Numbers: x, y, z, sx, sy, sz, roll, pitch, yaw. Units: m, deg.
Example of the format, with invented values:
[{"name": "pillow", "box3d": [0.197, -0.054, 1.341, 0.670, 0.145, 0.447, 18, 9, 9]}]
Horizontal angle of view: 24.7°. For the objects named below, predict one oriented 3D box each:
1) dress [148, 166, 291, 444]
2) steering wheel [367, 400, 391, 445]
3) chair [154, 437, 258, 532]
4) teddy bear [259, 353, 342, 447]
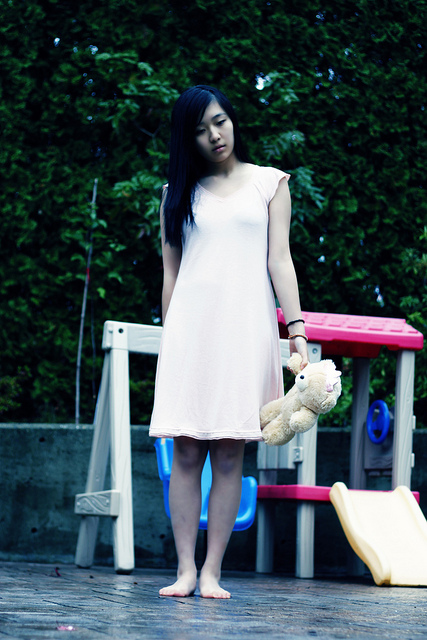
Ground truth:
[{"name": "dress", "box3d": [0.023, -0.059, 2.779, 0.364, 0.776, 0.278, 3, 3, -9]}, {"name": "steering wheel", "box3d": [0.696, 0.426, 4.072, 0.033, 0.191, 0.199, 6, -8, -14]}, {"name": "chair", "box3d": [-0.041, 0.596, 3.635, 0.350, 0.391, 0.351, 2, -16, -9]}, {"name": "teddy bear", "box3d": [0.239, 0.227, 2.711, 0.208, 0.248, 0.188, 5, 10, 24]}]
